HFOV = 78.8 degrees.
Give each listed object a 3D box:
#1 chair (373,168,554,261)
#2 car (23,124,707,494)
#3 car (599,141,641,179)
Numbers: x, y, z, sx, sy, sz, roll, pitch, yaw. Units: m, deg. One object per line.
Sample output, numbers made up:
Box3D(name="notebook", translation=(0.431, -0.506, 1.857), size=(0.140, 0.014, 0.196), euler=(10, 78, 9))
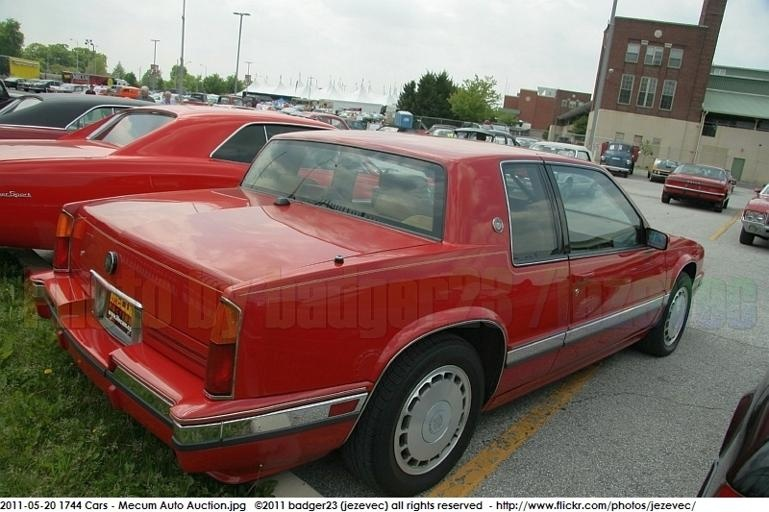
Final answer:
Box3D(name="chair", translation=(0.654, -0.369, 3.404), size=(0.930, 0.412, 0.906), euler=(-10, 17, -32))
Box3D(name="car", translation=(0.468, 0.252, 3.801), size=(4.637, 1.444, 2.418), euler=(-11, 19, -39))
Box3D(name="car", translation=(17.162, -6.831, 34.683), size=(2.959, 2.275, 5.198), euler=(17, 28, 28))
